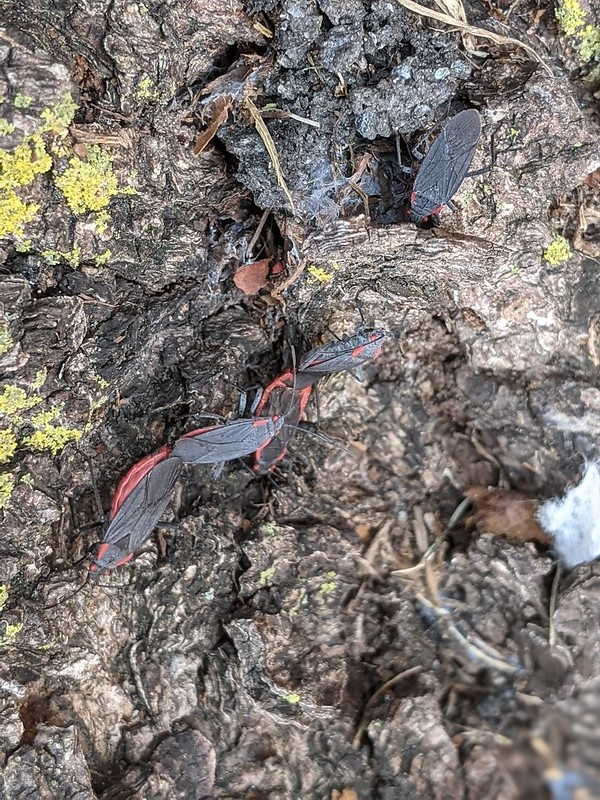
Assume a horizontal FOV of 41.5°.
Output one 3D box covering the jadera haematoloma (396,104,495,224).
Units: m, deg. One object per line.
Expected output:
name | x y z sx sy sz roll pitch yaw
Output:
jadera haematoloma | 0.584 -0.943 3.229 0.282 0.394 0.115 30 36 0

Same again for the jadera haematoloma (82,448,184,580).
jadera haematoloma | -0.673 0.466 3.344 0.136 0.358 0.488 29 85 44
